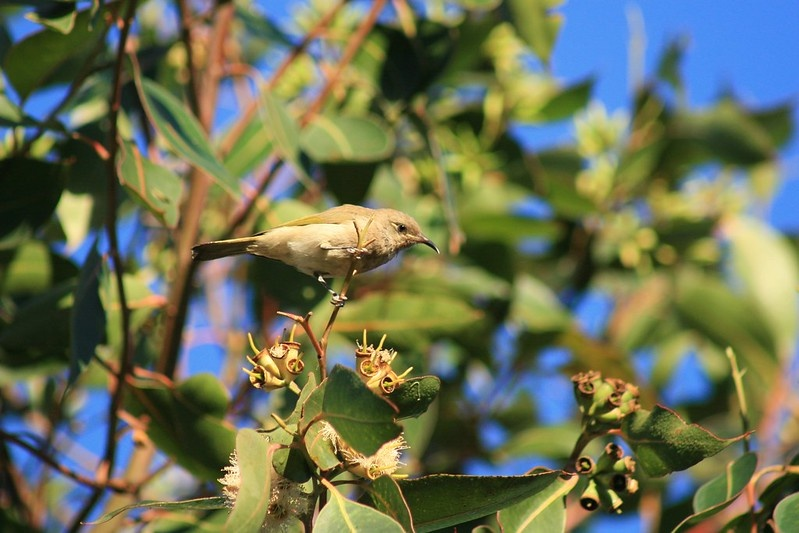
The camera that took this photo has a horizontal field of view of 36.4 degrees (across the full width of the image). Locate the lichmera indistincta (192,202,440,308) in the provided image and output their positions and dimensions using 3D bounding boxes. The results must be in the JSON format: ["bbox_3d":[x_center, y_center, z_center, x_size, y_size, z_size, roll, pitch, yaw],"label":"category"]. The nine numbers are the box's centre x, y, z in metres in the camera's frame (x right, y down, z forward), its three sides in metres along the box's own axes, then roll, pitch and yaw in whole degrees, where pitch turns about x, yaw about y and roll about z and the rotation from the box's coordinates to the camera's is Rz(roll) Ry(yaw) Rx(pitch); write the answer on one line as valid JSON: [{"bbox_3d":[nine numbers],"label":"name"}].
[{"bbox_3d":[-0.313,-0.111,5.324,1.211,0.384,0.521,0,62,-12],"label":"lichmera indistincta"}]
